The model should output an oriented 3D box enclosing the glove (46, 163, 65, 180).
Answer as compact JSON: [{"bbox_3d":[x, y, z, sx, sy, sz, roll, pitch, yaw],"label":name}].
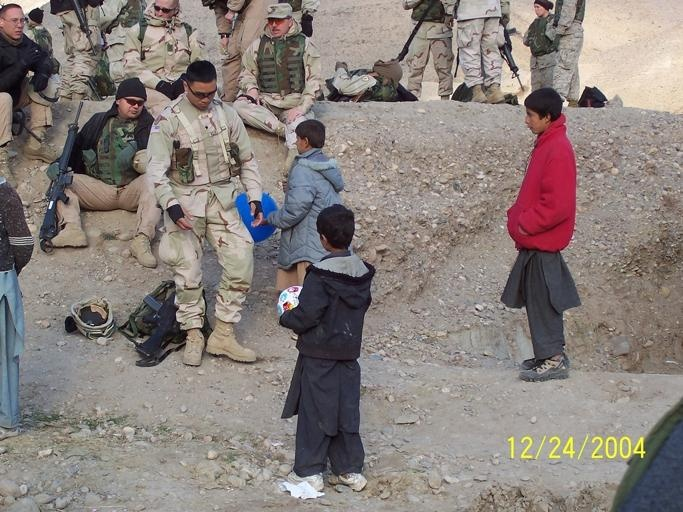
[{"bbox_3d":[-2.993,-0.897,8.653,0.147,0.060,0.178,0,52,14],"label":"glove"}]

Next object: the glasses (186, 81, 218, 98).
[{"bbox_3d":[-1.216,-1.442,7.133,0.261,0.153,0.174,0,16,-13],"label":"glasses"}]

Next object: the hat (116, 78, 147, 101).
[{"bbox_3d":[-2.162,-1.702,8.504,0.252,0.178,0.241,-4,5,-1],"label":"hat"}]

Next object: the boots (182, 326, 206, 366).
[{"bbox_3d":[-1.340,0.815,7.459,0.181,0.312,0.181,1,16,-9],"label":"boots"}]

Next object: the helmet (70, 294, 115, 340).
[{"bbox_3d":[-2.289,0.549,7.797,0.446,0.332,0.526,-4,19,-10],"label":"helmet"}]
